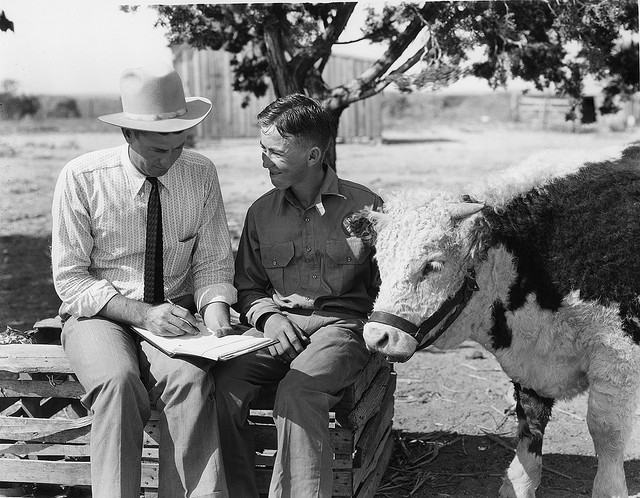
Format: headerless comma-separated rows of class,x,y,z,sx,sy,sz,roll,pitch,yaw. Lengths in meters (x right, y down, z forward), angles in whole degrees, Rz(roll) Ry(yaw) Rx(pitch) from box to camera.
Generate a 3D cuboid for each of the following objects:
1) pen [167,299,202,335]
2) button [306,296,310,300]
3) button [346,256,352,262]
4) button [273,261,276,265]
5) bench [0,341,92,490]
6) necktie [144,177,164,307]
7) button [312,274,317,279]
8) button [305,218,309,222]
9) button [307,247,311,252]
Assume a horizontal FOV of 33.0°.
pen,-0.922,0.468,7.270,0.032,0.285,0.022,-30,20,33
button,-0.091,0.344,7.462,0.018,0.019,0.007,-1,-17,6
button,0.192,0.073,7.443,0.039,0.035,0.008,-1,10,12
button,-0.324,0.104,7.540,0.020,0.022,0.006,-1,-6,11
bench,-1.951,1.146,7.651,0.938,0.618,0.954,0,1,-18
necktie,-1.156,-0.054,7.439,0.100,0.867,0.222,0,11,18
button,-0.046,0.197,7.474,0.022,0.028,0.009,-1,-3,15
button,-0.099,-0.199,7.506,0.026,0.022,0.008,-2,10,10
button,-0.084,0.008,7.473,0.026,0.028,0.008,-2,-11,4
